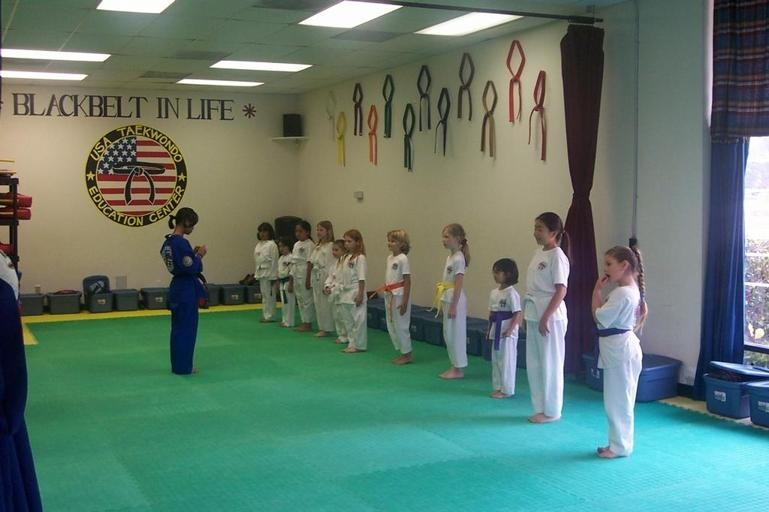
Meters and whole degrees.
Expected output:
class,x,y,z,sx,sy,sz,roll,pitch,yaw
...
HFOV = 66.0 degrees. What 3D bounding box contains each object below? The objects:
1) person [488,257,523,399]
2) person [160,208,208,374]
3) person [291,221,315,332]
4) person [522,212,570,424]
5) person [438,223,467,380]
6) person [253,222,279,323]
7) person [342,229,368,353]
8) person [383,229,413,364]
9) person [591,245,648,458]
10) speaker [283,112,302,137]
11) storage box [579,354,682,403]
class,x,y,z,sx,sy,sz,roll,pitch,yaw
person,1.277,0.783,6.325,0.295,1.474,0.221,1,7,8
person,-2.392,0.425,7.113,0.474,1.997,0.361,-2,7,-16
person,-1.296,0.334,9.441,0.361,1.727,0.780,-1,7,-10
person,1.536,0.590,5.679,0.396,2.003,0.398,2,7,14
person,0.805,0.480,6.903,0.319,1.682,0.426,1,7,6
person,-2.011,0.283,10.149,0.399,1.688,0.654,-2,7,-12
person,-0.433,0.477,8.203,0.359,1.666,0.356,-1,7,-5
person,0.176,0.529,7.662,0.352,1.712,0.695,0,7,2
person,1.952,0.808,5.006,0.388,1.762,0.325,2,8,18
speaker,-1.992,-2.813,12.833,0.464,0.546,0.475,1,4,17
storage box,2.775,1.272,6.672,0.782,0.413,1.016,0,-3,-20
